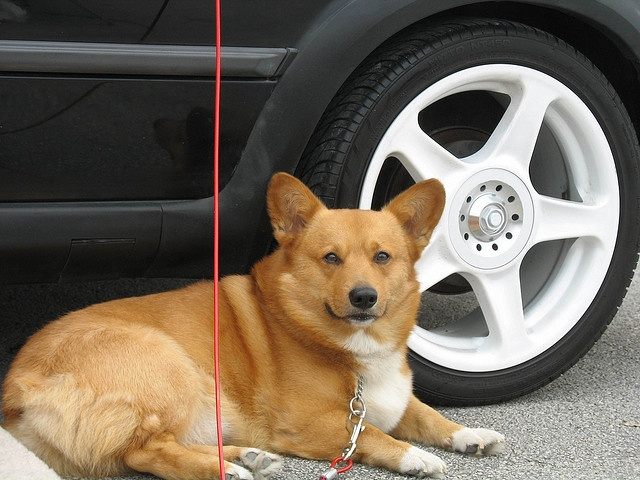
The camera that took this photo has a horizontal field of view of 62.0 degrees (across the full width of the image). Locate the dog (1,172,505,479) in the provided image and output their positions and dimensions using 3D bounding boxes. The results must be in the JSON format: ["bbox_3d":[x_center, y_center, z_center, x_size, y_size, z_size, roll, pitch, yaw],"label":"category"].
[{"bbox_3d":[-0.298,0.342,2.420,1.886,1.201,1.030,-3,-10,2],"label":"dog"}]
